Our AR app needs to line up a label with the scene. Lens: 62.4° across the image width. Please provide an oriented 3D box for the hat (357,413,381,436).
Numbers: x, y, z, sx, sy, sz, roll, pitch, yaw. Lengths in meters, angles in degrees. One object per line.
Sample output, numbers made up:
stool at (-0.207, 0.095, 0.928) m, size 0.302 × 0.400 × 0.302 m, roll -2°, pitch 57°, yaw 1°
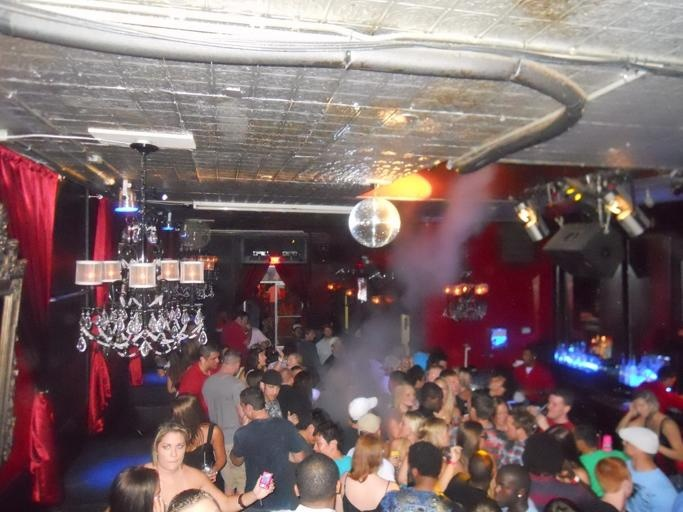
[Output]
hat at (0.256, 1.569, 5.212) m, size 0.195 × 0.191 × 0.260 m, roll 0°, pitch -3°, yaw -3°

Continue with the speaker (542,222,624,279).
speaker at (2.618, -0.046, 6.069) m, size 0.597 × 0.690 × 0.775 m, roll 0°, pitch 0°, yaw -12°

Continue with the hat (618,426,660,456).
hat at (2.545, 1.566, 4.870) m, size 0.298 × 0.136 × 0.218 m, roll 24°, pitch 20°, yaw 41°

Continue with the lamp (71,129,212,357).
lamp at (-1.866, -0.117, 5.370) m, size 1.104 × 1.881 × 1.105 m, roll 2°, pitch 5°, yaw 27°

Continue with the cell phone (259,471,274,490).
cell phone at (-0.551, 1.638, 4.155) m, size 0.109 × 0.145 × 0.048 m, roll 17°, pitch 9°, yaw 0°

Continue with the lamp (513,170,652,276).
lamp at (2.601, -0.312, 6.174) m, size 0.713 × 1.030 × 1.207 m, roll -7°, pitch 2°, yaw -39°

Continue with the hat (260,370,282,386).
hat at (-0.730, 1.256, 5.814) m, size 0.214 × 0.154 × 0.171 m, roll -1°, pitch -3°, yaw 1°

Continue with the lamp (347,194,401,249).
lamp at (0.408, -0.396, 6.669) m, size 0.589 × 0.579 × 0.590 m, roll -1°, pitch 4°, yaw 6°

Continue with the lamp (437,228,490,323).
lamp at (2.449, 0.722, 10.945) m, size 0.934 × 0.946 × 0.836 m, roll -3°, pitch 2°, yaw -44°
